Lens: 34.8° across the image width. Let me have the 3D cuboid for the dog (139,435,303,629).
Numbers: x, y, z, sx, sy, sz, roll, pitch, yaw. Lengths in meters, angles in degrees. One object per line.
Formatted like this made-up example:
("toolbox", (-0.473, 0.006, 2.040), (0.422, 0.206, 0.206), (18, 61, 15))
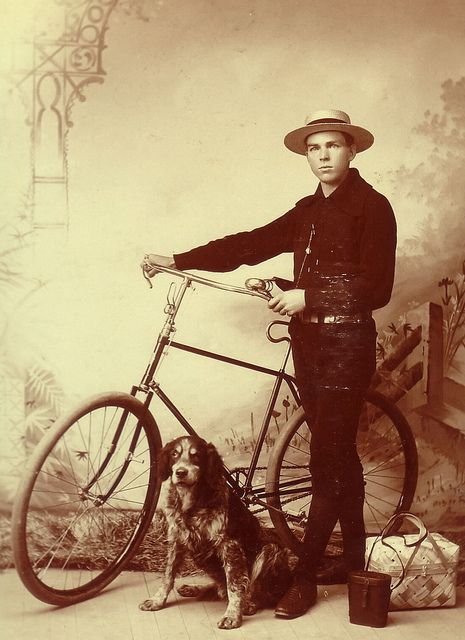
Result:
("dog", (-0.016, 0.764, 2.828), (0.563, 0.669, 0.358), (-1, 3, -42))

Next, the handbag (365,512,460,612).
("handbag", (0.663, 0.913, 2.917), (0.436, 0.352, 0.401), (2, -12, -8))
